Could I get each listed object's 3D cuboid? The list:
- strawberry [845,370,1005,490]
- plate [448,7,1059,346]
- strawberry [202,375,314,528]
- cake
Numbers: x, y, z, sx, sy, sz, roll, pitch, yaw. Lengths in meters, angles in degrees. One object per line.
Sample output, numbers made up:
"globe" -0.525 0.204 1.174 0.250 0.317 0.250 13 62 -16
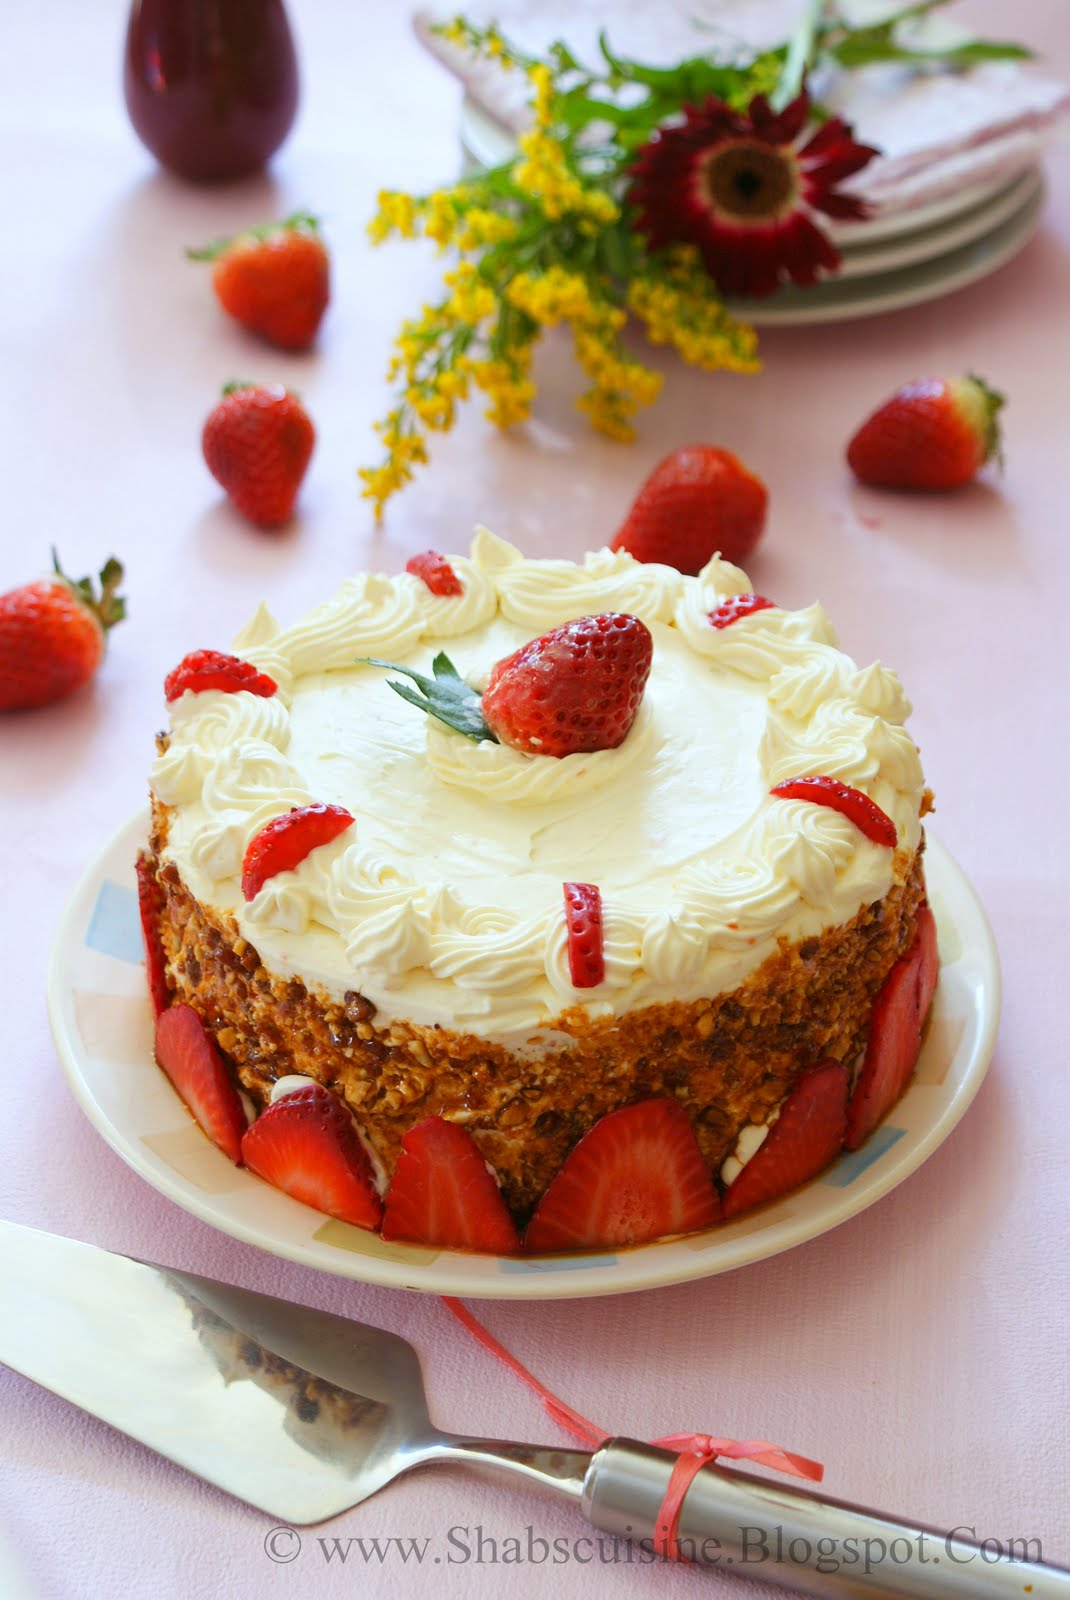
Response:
"strawberry" 0.603 -0.574 2.556 0.257 0.147 0.180 -7 34 11
"plate" 0.573 -1.088 3.040 0.985 0.285 0.866 -8 44 -6
"strawberry" -0.425 -0.537 2.524 0.164 0.219 0.158 -16 48 -6
"cake" -0.068 0.065 1.641 0.729 0.354 0.742 26 39 38
